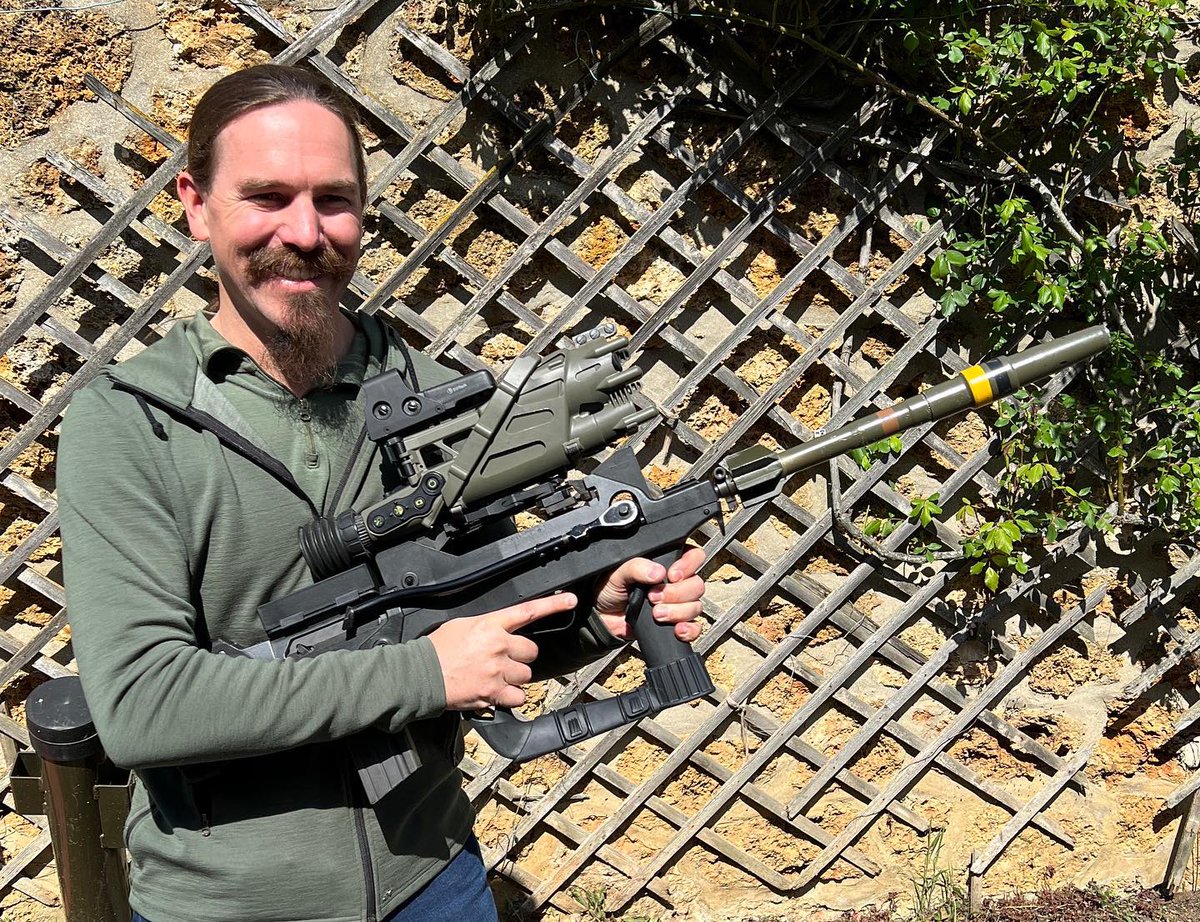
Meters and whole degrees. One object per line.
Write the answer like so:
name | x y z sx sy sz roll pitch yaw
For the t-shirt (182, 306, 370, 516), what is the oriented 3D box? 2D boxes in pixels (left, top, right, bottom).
t-shirt | -0.936 -0.138 4.680 0.475 0.662 0.472 14 21 35

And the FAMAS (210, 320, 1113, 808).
FAMAS | 0.099 0.167 4.825 2.987 1.259 0.347 -19 7 -23
